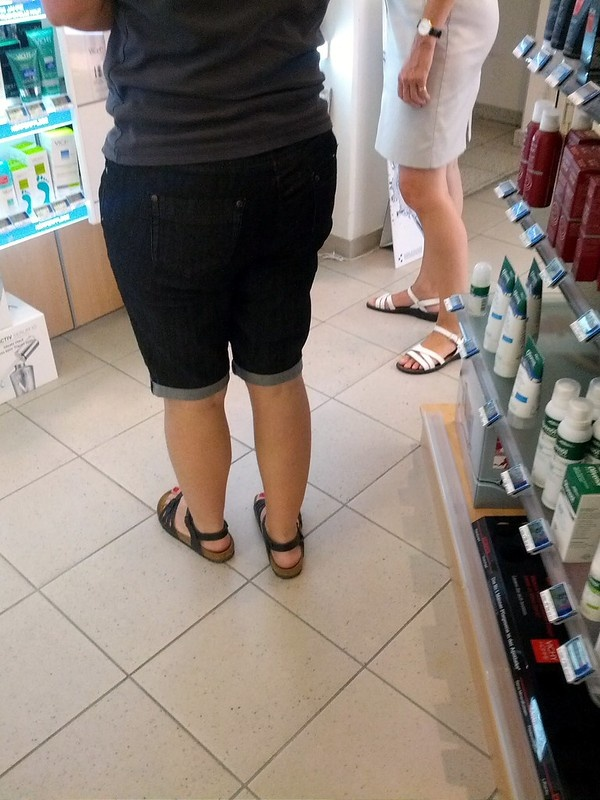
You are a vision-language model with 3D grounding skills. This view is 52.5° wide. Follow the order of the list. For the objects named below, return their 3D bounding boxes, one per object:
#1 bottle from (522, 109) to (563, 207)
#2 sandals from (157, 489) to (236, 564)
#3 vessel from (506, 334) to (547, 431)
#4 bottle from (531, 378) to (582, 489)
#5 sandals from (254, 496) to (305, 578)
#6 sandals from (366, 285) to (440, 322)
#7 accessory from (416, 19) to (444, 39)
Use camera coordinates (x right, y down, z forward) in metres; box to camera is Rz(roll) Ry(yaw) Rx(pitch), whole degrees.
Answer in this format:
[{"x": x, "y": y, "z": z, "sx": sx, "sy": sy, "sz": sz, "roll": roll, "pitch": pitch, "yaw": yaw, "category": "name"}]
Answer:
[{"x": 0.520, "y": -0.511, "z": 1.297, "sx": 0.064, "sy": 0.195, "sz": 0.056, "roll": 13, "pitch": 36, "yaw": 19, "category": "bottle"}, {"x": -0.306, "y": 0.319, "z": 1.674, "sx": 0.139, "sy": 0.119, "sz": 0.305, "roll": -21, "pitch": 37, "yaw": -38, "category": "sandals"}, {"x": 0.459, "y": -0.030, "z": 1.235, "sx": 0.056, "sy": 0.182, "sz": 0.101, "roll": -9, "pitch": 44, "yaw": -9, "category": "vessel"}, {"x": 0.428, "y": 0.063, "z": 1.015, "sx": 0.056, "sy": 0.215, "sz": 0.057, "roll": 0, "pitch": 44, "yaw": 0, "category": "bottle"}, {"x": -0.054, "y": 0.338, "z": 1.633, "sx": 0.088, "sy": 0.099, "sz": 0.251, "roll": -6, "pitch": 43, "yaw": -5, "category": "sandals"}, {"x": 0.462, "y": -0.431, "z": 2.754, "sx": 0.306, "sy": 0.134, "sz": 0.124, "roll": 14, "pitch": 40, "yaw": 13, "category": "sandals"}, {"x": 0.377, "y": -1.082, "z": 1.782, "sx": 0.067, "sy": 0.050, "sz": 0.071, "roll": 0, "pitch": 40, "yaw": -3, "category": "accessory"}]
